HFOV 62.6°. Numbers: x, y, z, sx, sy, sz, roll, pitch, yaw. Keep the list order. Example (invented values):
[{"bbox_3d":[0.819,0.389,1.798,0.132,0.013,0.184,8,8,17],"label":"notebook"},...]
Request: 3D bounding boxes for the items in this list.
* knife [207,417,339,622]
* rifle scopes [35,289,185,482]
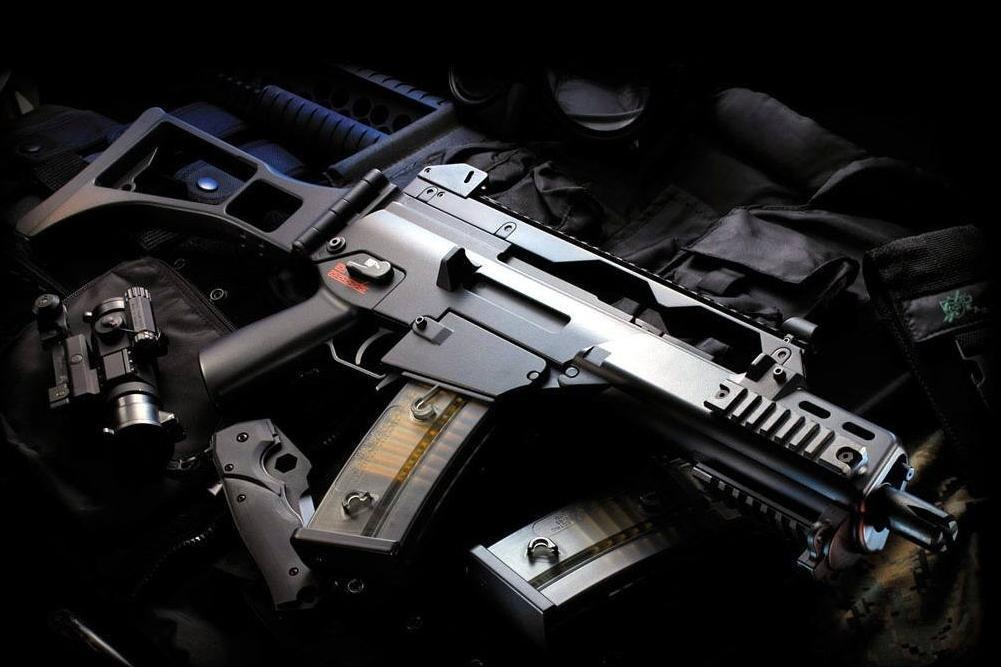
[{"bbox_3d":[-0.713,0.558,2.568,0.323,0.151,0.587,-20,70,-24],"label":"knife"},{"bbox_3d":[-1.328,0.148,2.760,0.462,0.285,0.648,-10,59,-18],"label":"rifle scopes"}]
